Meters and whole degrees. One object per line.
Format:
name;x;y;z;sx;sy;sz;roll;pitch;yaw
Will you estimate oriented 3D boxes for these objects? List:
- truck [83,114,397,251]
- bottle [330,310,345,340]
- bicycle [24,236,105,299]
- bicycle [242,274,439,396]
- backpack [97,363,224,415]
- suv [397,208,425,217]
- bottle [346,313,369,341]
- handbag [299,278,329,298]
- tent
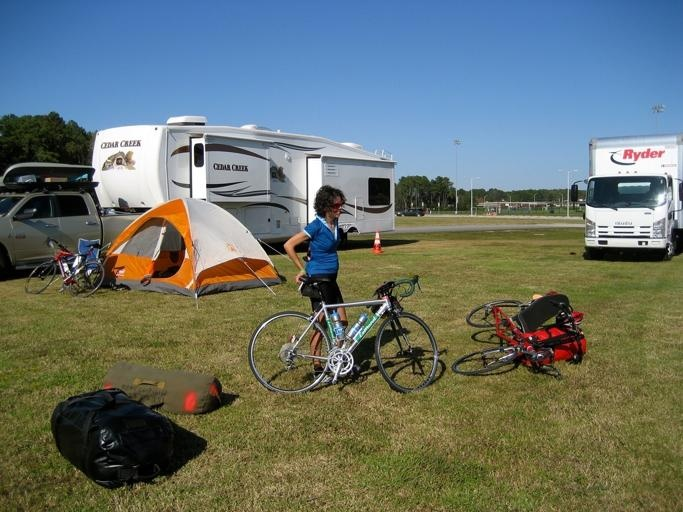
truck;-2.311;-2.370;17.833;3.609;3.692;9.907;13;14;43
bottle;-0.003;0.709;5.434;0.130;0.324;0.217;7;12;38
bicycle;-5.559;0.258;10.500;0.679;1.028;1.642;23;8;28
bicycle;0.047;0.831;5.564;1.985;1.266;0.619;0;9;2
backpack;-1.729;1.278;5.071;0.868;0.238;0.520;12;2;10
suv;9.858;-6.273;74.498;3.540;1.197;2.018;4;6;14
bottle;0.158;0.731;5.419;0.227;0.263;0.153;0;9;0
handbag;-0.293;0.344;5.407;0.282;0.255;0.187;-2;9;-7
tent;-3.016;-0.096;10.532;2.419;1.250;2.393;0;2;-29
